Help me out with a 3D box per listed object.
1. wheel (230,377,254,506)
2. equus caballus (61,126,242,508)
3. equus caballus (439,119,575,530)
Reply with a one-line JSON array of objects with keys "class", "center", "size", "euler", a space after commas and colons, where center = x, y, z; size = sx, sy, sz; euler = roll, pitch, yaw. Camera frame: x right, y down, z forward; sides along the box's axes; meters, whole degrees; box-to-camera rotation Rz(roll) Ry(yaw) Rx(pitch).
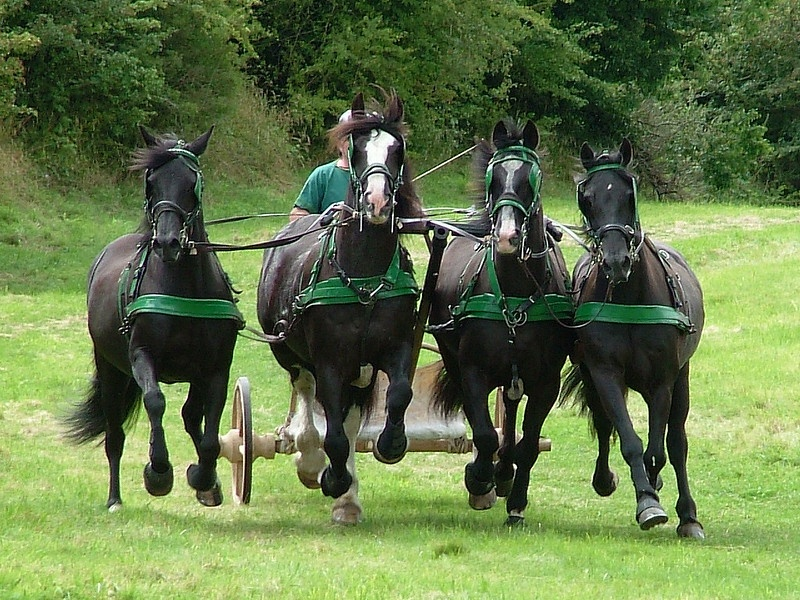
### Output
[{"class": "wheel", "center": [-2.056, 1.884, 18.155], "size": [0.389, 1.439, 1.461], "euler": [2, 7, -9]}, {"class": "equus caballus", "center": [-2.887, 0.259, 17.110], "size": [1.314, 4.760, 1.849], "euler": [-11, 19, -43]}, {"class": "equus caballus", "center": [1.175, 0.338, 17.146], "size": [1.618, 5.073, 1.228], "euler": [12, 16, 34]}]
